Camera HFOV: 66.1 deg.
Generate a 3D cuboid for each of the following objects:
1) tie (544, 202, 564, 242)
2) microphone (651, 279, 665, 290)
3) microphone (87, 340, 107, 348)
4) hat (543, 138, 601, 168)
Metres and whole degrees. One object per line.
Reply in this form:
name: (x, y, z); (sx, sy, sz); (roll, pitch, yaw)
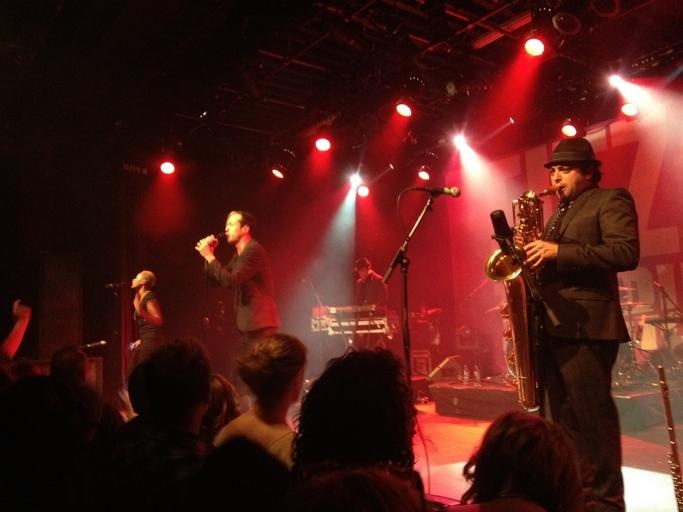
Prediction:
tie: (1.514, -0.243, 3.730); (0.065, 0.260, 0.186); (23, 32, 24)
microphone: (4.651, 0.413, 7.723); (0.040, 0.152, 0.125); (9, -21, -27)
microphone: (-3.676, 1.315, 7.867); (0.181, 0.232, 0.767); (7, -8, -25)
hat: (1.648, -0.720, 3.741); (0.269, 0.228, 0.360); (1, 10, -11)
